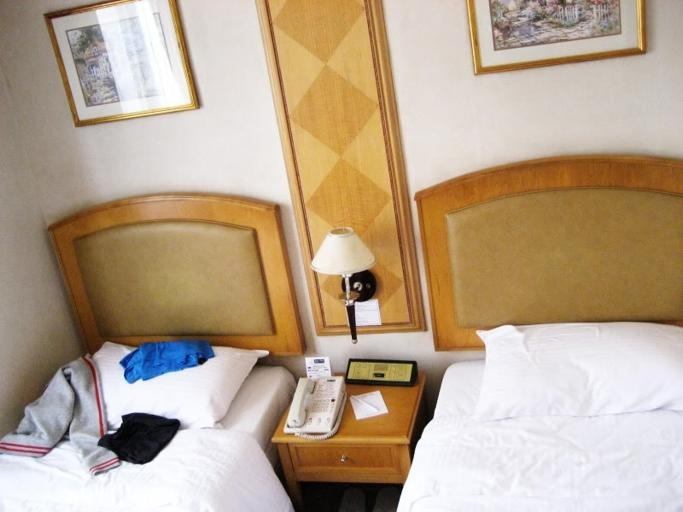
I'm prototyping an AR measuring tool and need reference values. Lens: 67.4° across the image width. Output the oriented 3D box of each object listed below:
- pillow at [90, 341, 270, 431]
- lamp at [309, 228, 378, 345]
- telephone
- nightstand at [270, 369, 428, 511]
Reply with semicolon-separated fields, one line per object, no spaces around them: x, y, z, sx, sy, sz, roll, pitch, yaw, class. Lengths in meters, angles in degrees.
-0.877;0.678;2.548;0.524;0.128;0.479;-1;44;3;pillow
0.033;0.189;2.545;0.304;0.694;0.305;-6;22;3;lamp
-0.133;0.732;2.570;0.260;0.126;0.343;-7;24;18;telephone
0.070;0.957;2.756;0.730;0.747;0.562;-1;33;5;nightstand
